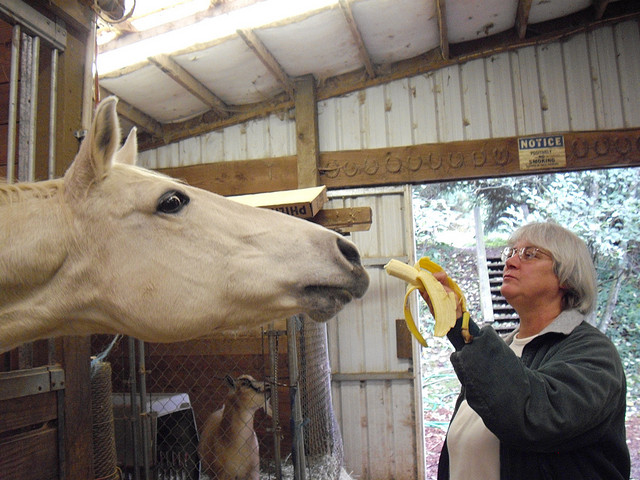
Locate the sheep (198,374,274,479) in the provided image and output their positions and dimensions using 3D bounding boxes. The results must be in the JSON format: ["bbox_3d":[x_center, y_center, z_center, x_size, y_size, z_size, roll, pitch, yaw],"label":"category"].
[{"bbox_3d":[-0.796,1.665,4.996,0.622,0.869,0.432,-5,-8,20],"label":"sheep"}]

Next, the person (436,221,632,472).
[{"bbox_3d":[1.143,0.572,3.058,0.904,1.391,0.590,-4,-7,6],"label":"person"}]
